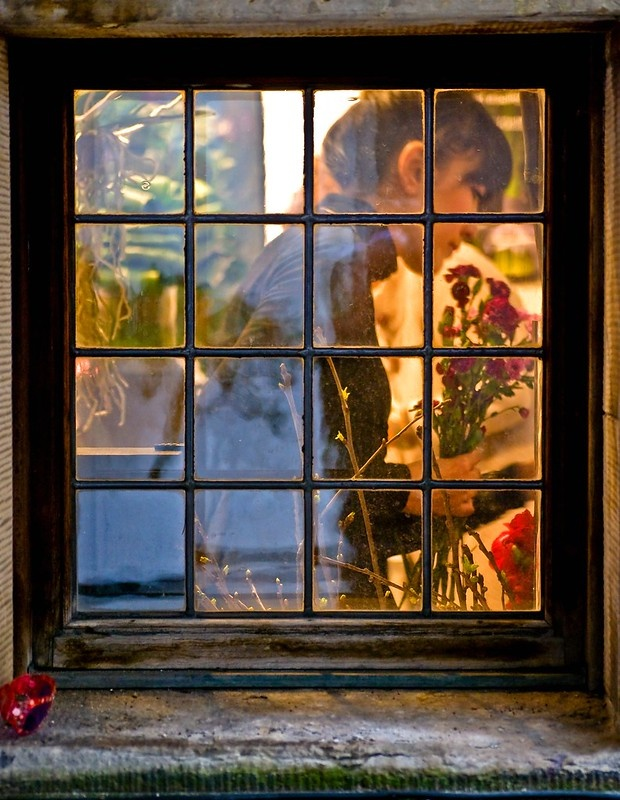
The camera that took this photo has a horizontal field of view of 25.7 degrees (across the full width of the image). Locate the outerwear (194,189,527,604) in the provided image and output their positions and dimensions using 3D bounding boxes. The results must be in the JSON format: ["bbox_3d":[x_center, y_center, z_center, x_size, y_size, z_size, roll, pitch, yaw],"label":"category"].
[{"bbox_3d":[0.098,-0.041,2.402,0.696,0.824,0.034,1,7,-3],"label":"outerwear"}]
